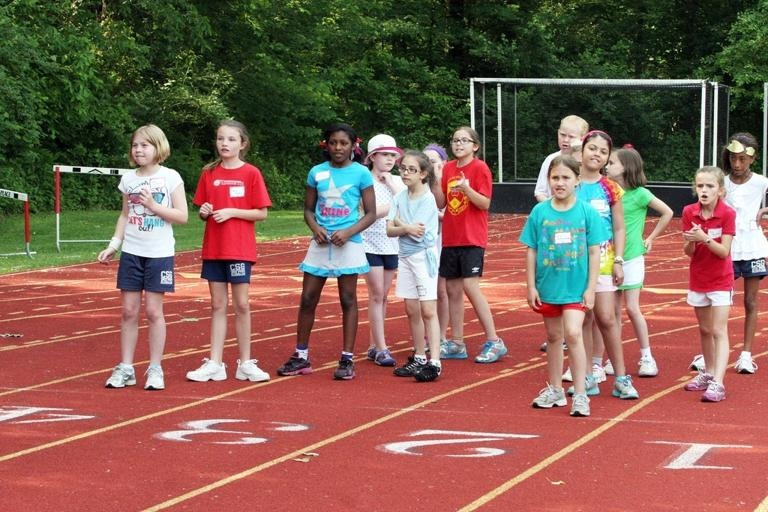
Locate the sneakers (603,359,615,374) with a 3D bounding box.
[{"bbox_3d":[2.209,1.115,8.474,0.121,0.118,0.302,0,-2,6],"label":"sneakers"}]

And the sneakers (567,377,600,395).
[{"bbox_3d":[1.790,1.169,7.621,0.146,0.149,0.336,-1,-4,28],"label":"sneakers"}]

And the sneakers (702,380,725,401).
[{"bbox_3d":[2.890,1.168,7.416,0.144,0.168,0.299,4,7,38],"label":"sneakers"}]

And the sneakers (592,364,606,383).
[{"bbox_3d":[2.038,1.112,8.049,0.120,0.113,0.272,0,-6,17],"label":"sneakers"}]

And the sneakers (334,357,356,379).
[{"bbox_3d":[-0.379,1.079,8.220,0.187,0.199,0.239,-1,6,4],"label":"sneakers"}]

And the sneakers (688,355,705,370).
[{"bbox_3d":[3.136,1.078,8.528,0.162,0.055,0.224,0,27,15],"label":"sneakers"}]

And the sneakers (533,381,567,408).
[{"bbox_3d":[1.487,1.216,7.344,0.379,0.168,0.141,1,-3,-30],"label":"sneakers"}]

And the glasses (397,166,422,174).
[{"bbox_3d":[0.248,-0.831,8.263,0.186,0.060,0.051,0,6,13],"label":"glasses"}]

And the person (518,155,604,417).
[{"bbox_3d":[1.489,0.241,7.122,0.683,2.143,0.418,0,6,14],"label":"person"}]

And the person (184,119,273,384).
[{"bbox_3d":[-1.503,-0.063,8.223,0.834,2.502,0.581,-1,6,-1],"label":"person"}]

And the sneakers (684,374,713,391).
[{"bbox_3d":[2.862,1.147,7.758,0.318,0.120,0.106,-3,2,-4],"label":"sneakers"}]

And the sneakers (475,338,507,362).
[{"bbox_3d":[1.134,0.983,8.993,0.408,0.175,0.173,-19,15,-42],"label":"sneakers"}]

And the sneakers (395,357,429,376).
[{"bbox_3d":[0.279,1.084,8.275,0.375,0.146,0.154,-4,2,21],"label":"sneakers"}]

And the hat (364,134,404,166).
[{"bbox_3d":[-0.013,-1.153,8.926,0.385,0.181,0.382,0,-9,-17],"label":"hat"}]

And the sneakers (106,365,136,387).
[{"bbox_3d":[-2.437,1.126,7.980,0.157,0.141,0.321,2,-2,20],"label":"sneakers"}]

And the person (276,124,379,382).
[{"bbox_3d":[-0.524,-0.047,8.291,0.781,2.426,0.491,1,6,21],"label":"person"}]

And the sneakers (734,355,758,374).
[{"bbox_3d":[3.550,1.071,8.338,0.155,0.106,0.274,-1,-4,17],"label":"sneakers"}]

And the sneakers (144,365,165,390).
[{"bbox_3d":[-2.131,1.123,7.882,0.184,0.199,0.243,-2,6,-15],"label":"sneakers"}]

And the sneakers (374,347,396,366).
[{"bbox_3d":[0.007,1.059,8.795,0.115,0.103,0.283,2,-5,-28],"label":"sneakers"}]

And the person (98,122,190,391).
[{"bbox_3d":[-2.254,-0.021,8.021,0.808,2.450,0.790,-3,6,-16],"label":"person"}]

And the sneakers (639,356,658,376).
[{"bbox_3d":[2.579,1.062,8.285,0.186,0.177,0.318,1,6,18],"label":"sneakers"}]

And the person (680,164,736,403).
[{"bbox_3d":[2.956,0.201,7.769,0.447,2.025,1.050,1,6,22],"label":"person"}]

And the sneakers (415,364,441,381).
[{"bbox_3d":[0.423,1.124,8.106,0.111,0.129,0.303,-2,-5,36],"label":"sneakers"}]

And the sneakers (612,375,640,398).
[{"bbox_3d":[2.142,1.163,7.543,0.227,0.189,0.200,0,6,14],"label":"sneakers"}]
